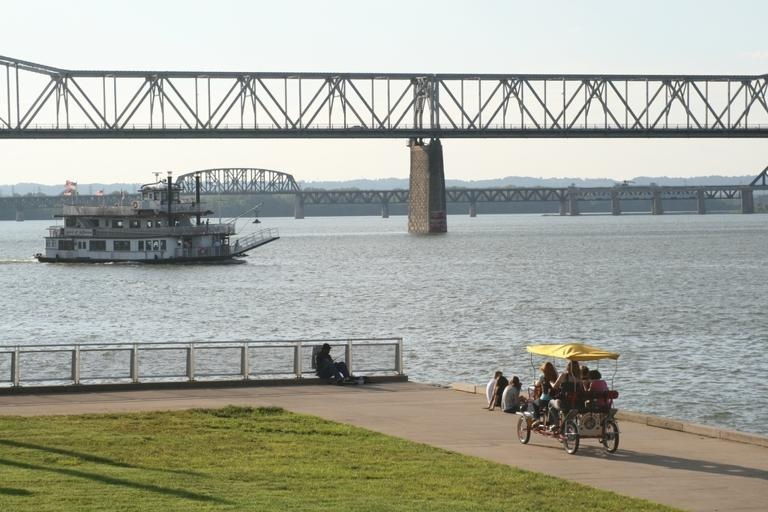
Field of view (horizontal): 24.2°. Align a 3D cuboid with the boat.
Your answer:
[{"bbox_3d":[-24.425,-3.453,179.859,18.674,9.314,13.584,-3,3,-10],"label":"boat"}]
